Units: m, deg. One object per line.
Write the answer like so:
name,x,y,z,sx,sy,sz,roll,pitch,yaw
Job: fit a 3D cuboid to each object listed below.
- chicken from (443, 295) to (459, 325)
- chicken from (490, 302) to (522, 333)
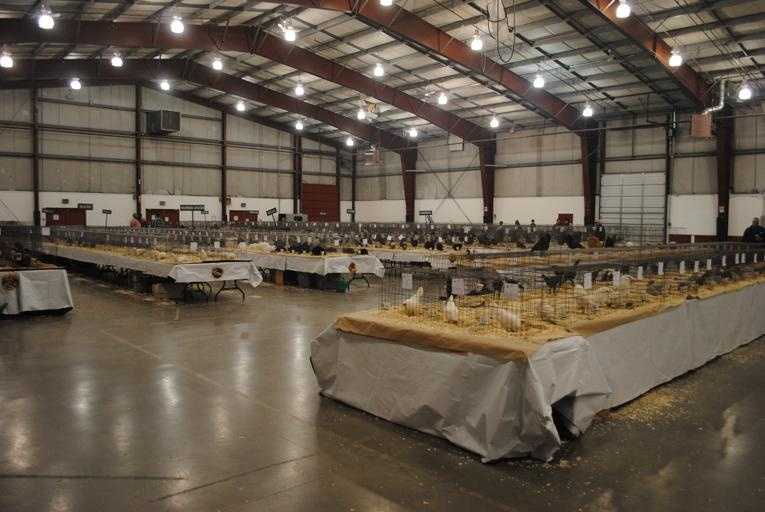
chicken,0.834,0.665,6.847,0.181,0.251,0.257,-6,15,-23
chicken,1.439,0.714,6.598,0.233,0.110,0.322,10,14,-34
